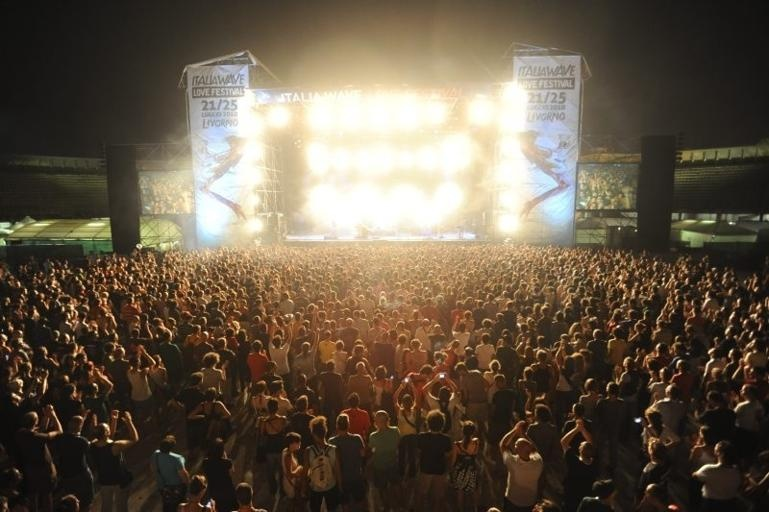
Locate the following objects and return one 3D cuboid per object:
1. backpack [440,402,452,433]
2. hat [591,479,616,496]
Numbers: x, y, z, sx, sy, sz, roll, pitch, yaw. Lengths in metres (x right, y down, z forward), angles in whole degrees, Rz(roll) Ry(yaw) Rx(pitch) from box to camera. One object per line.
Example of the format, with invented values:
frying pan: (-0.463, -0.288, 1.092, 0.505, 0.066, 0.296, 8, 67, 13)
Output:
backpack: (1.675, 4.416, 18.799, 0.310, 0.741, 1.137, 0, 5, 6)
hat: (5.425, 5.722, 16.988, 0.410, 0.315, 0.415, -6, 6, -11)
